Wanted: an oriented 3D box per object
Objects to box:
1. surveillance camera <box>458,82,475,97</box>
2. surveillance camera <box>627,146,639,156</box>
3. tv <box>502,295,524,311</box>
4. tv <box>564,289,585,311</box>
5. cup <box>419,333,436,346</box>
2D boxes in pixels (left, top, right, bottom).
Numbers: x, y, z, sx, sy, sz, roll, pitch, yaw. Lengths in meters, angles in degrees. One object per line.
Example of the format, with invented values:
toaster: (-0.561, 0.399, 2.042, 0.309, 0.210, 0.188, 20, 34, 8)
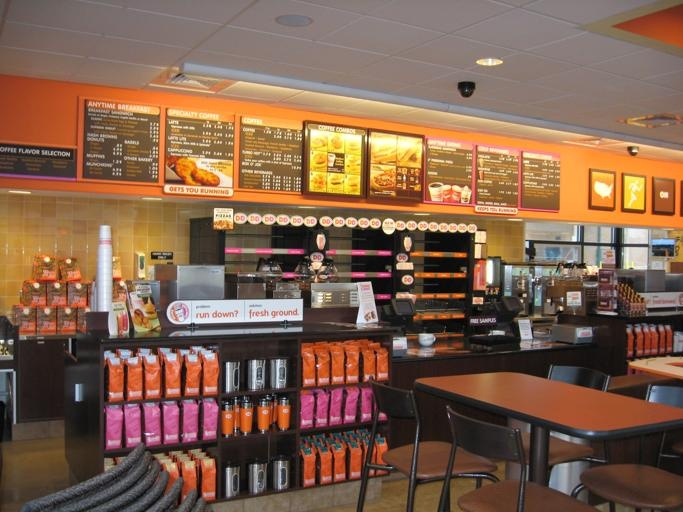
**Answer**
surveillance camera: (1.193, -1.571, 5.459, 0.148, 0.082, 0.128, 0, -2, -4)
surveillance camera: (3.922, -1.419, 7.765, 0.159, 0.058, 0.185, 1, -3, 3)
tv: (1.750, 0.492, 6.054, 0.252, 0.136, 0.154, 10, -2, -29)
tv: (2.726, 0.510, 6.722, 0.344, 0.335, 0.040, 0, 0, 6)
cup: (0.855, 0.823, 5.703, 0.168, 0.086, 0.125, 2, -6, -34)
